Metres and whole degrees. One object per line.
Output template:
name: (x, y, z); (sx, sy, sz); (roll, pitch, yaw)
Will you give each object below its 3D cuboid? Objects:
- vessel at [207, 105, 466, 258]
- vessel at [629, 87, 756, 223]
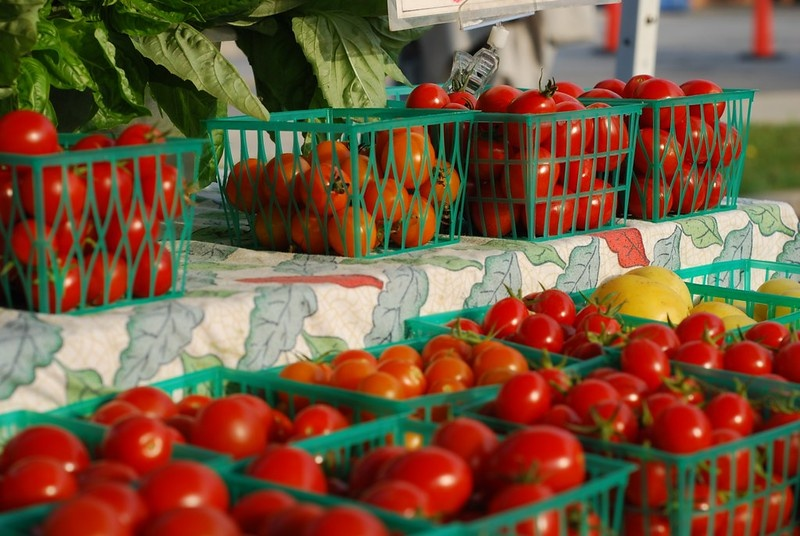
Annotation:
vessel: (-0.135, -0.170, 1.473); (0.407, 0.233, 0.334); (5, 13, 36)
vessel: (0.670, -0.283, 1.786); (0.331, 0.251, 0.246); (-10, 15, -31)
